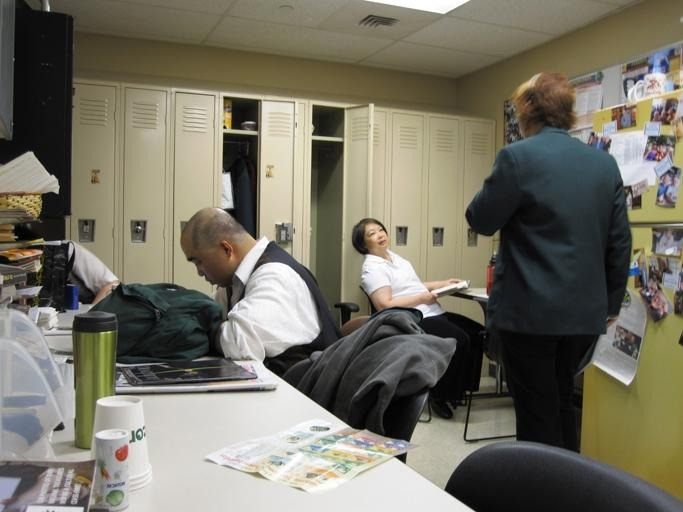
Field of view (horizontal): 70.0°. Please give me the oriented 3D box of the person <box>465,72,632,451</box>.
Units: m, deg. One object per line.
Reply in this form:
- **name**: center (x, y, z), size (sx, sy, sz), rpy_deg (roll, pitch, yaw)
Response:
- **person**: center (0.986, 0.049, 2.361), size (0.758, 1.879, 0.410), rpy_deg (1, 4, 21)

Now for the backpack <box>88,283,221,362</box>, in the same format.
- **backpack**: center (-0.623, 0.212, 1.694), size (0.340, 0.130, 0.271), rpy_deg (2, 7, -20)

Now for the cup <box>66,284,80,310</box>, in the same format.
- **cup**: center (-1.600, 0.243, 2.895), size (0.072, 0.130, 0.128), rpy_deg (0, 3, -17)

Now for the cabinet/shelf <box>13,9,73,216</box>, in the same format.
- **cabinet/shelf**: center (-1.757, -0.824, 2.879), size (0.328, 1.162, 0.215), rpy_deg (-2, 4, -26)

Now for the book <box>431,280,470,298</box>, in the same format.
- **book**: center (0.843, 0.249, 3.822), size (0.269, 0.122, 0.407), rpy_deg (1, 4, 16)
